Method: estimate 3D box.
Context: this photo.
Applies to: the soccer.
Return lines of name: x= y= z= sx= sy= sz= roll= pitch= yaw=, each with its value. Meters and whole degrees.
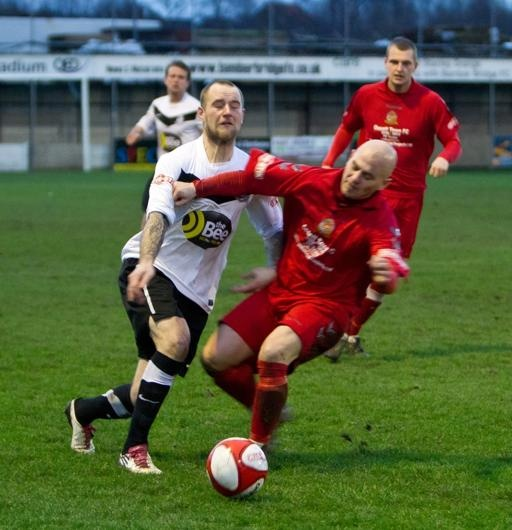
soccer: x=-0.109 y=1.047 z=6.001 sx=0.339 sy=0.318 sz=0.323 roll=6 pitch=2 yaw=-5

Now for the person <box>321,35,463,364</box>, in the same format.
person: x=0.860 y=-0.444 z=8.185 sx=1.005 sy=2.300 sz=0.785 roll=8 pitch=3 yaw=16

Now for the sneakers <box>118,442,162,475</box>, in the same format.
sneakers: x=-0.610 y=1.019 z=6.128 sx=0.199 sy=0.141 sz=0.173 roll=-4 pitch=13 yaw=-14

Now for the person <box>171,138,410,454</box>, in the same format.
person: x=0.211 y=0.130 z=6.292 sx=1.089 sy=1.591 sz=0.726 roll=-2 pitch=13 yaw=-4

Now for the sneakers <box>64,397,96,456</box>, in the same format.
sneakers: x=-0.964 y=0.884 z=6.467 sx=0.171 sy=0.320 sz=0.119 roll=-7 pitch=4 yaw=31
